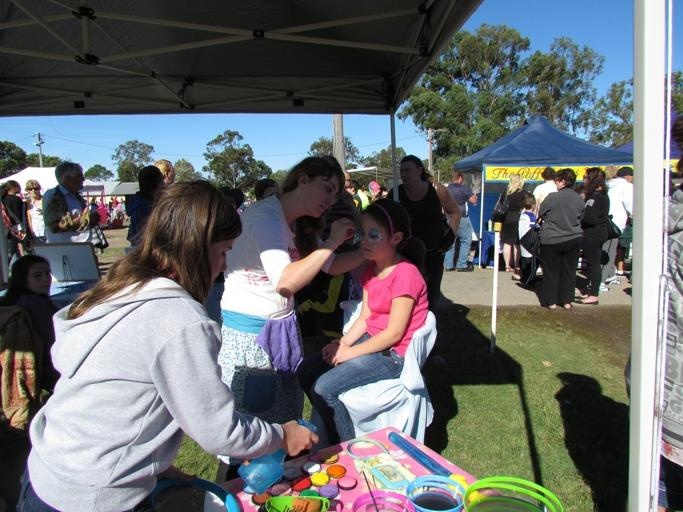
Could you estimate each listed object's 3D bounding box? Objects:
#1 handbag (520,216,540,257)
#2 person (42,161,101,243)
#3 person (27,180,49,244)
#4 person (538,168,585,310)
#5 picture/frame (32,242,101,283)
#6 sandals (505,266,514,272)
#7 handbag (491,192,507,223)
[{"bbox_3d":[2.883,-0.295,7.437,0.214,0.563,0.495,5,-11,2],"label":"handbag"},{"bbox_3d":[-2.716,-0.454,4.889,0.392,0.929,0.601,0,12,-19],"label":"person"},{"bbox_3d":[-5.483,-0.732,8.733,0.325,1.255,0.276,-1,36,-16],"label":"person"},{"bbox_3d":[2.900,-0.076,6.486,0.544,1.631,0.388,3,9,21],"label":"person"},{"bbox_3d":[-2.260,0.066,3.966,0.345,0.282,0.046,1,40,-8],"label":"picture/frame"},{"bbox_3d":[3.247,0.270,9.441,0.109,0.122,0.053,1,60,10],"label":"sandals"},{"bbox_3d":[2.921,-0.890,9.079,0.167,0.478,0.487,18,58,21],"label":"handbag"}]
